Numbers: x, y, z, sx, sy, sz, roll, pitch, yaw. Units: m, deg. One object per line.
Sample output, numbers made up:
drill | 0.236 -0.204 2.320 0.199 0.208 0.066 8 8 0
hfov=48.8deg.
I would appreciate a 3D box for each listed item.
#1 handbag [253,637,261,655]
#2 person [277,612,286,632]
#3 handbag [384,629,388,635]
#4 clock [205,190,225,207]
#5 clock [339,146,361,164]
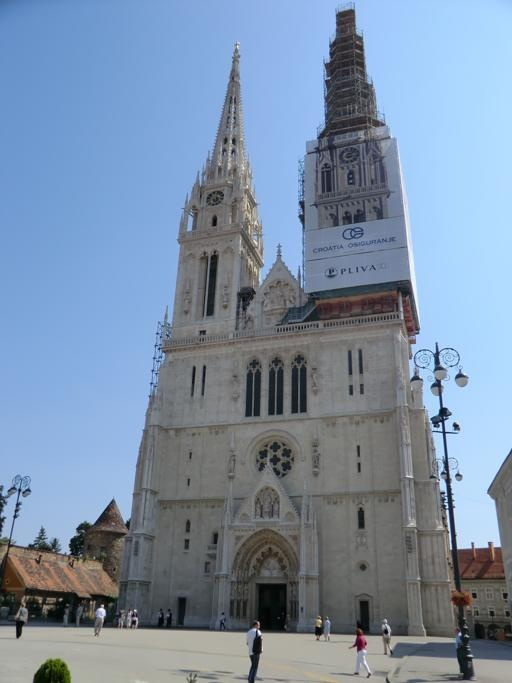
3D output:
handbag | 0.016 6.189 11.465 0.141 0.328 0.411 -4 -25 9
person | 1.704 18.464 37.245 0.564 1.086 1.292 1 -25 -1
handbag | 4.937 11.049 21.440 0.175 0.171 0.312 -5 -20 10
clock | -3.903 -13.960 55.081 2.197 2.260 0.116 2 -25 19
clock | 8.764 -17.267 52.338 2.293 2.359 0.159 -5 -35 26
